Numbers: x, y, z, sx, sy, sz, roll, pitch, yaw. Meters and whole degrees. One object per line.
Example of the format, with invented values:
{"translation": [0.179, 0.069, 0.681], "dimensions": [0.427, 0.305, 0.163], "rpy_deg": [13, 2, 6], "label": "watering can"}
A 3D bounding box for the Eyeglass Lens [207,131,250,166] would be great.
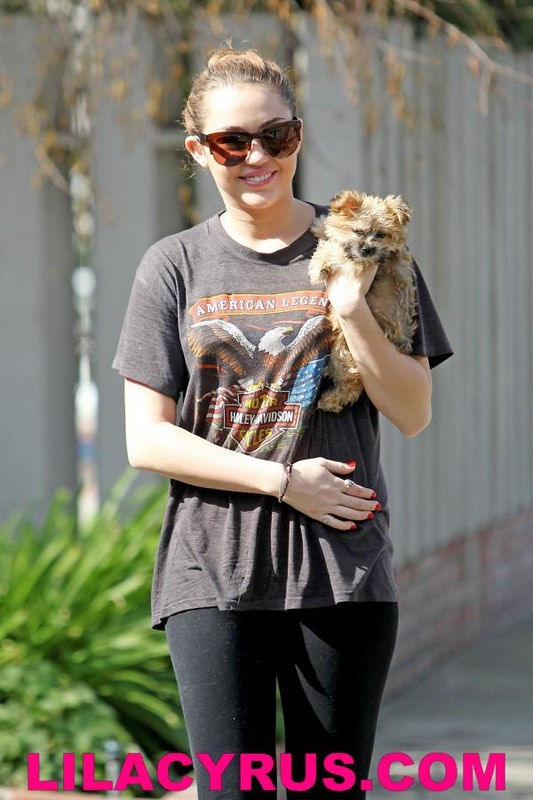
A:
{"translation": [-0.081, -0.560, 2.535], "dimensions": [0.085, 0.033, 0.081], "rpy_deg": [-2, 4, -5], "label": "Eyeglass Lens"}
